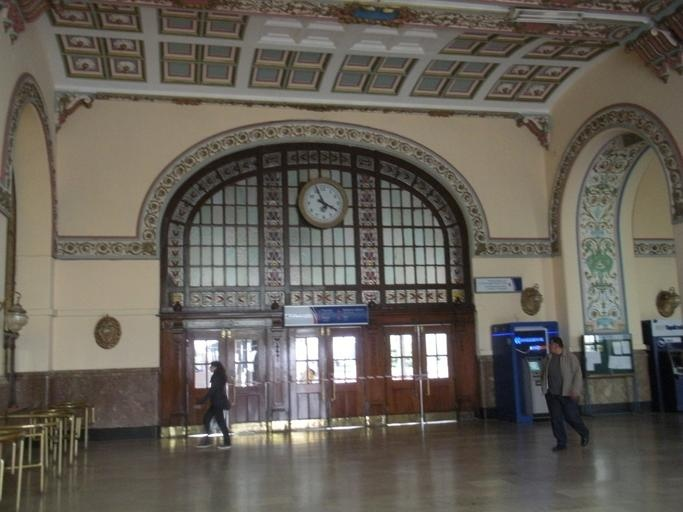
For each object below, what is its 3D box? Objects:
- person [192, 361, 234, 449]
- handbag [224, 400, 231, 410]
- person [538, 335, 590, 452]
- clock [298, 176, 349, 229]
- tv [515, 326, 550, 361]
[{"bbox_3d":[-2.366,2.717,11.250,0.552,1.524,1.081,-1,-10,-13],"label":"person"},{"bbox_3d":[-2.046,2.672,10.911,0.087,0.143,0.257,-4,-9,5],"label":"handbag"},{"bbox_3d":[3.543,2.180,9.722,0.607,1.728,0.637,-6,-10,17],"label":"person"},{"bbox_3d":[-0.447,-1.186,13.608,1.103,0.971,1.036,8,-12,-14],"label":"clock"},{"bbox_3d":[3.966,1.874,12.719,0.729,0.634,0.314,1,-14,-4],"label":"tv"}]
